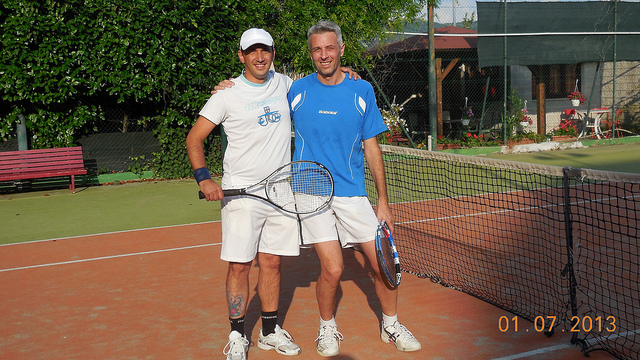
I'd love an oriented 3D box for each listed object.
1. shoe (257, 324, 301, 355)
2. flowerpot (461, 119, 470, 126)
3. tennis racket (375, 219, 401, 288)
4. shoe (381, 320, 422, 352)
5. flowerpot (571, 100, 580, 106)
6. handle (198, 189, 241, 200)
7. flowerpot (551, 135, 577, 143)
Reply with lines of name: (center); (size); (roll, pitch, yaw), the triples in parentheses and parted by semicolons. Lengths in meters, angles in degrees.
shoe: (-0.664, 2.668, 9.086); (0.804, 0.414, 0.316); (10, 13, 23)
flowerpot: (6.235, -2.444, 22.897); (0.448, 0.253, 0.205); (-7, 7, -30)
tennis racket: (1.111, 1.248, 8.884); (0.110, 0.502, 1.416); (-22, -35, -1)
shoe: (1.345, 2.575, 9.004); (0.812, 0.385, 0.305); (7, 15, 42)
flowerpot: (11.319, -3.397, 23.736); (0.287, 0.237, 0.363); (2, 8, 41)
handle: (-1.583, 0.223, 8.552); (0.668, 0.150, 0.112); (-3, 16, -10)
flowerpot: (10.284, -1.767, 22.893); (0.858, 0.185, 0.457); (-3, 5, -16)
